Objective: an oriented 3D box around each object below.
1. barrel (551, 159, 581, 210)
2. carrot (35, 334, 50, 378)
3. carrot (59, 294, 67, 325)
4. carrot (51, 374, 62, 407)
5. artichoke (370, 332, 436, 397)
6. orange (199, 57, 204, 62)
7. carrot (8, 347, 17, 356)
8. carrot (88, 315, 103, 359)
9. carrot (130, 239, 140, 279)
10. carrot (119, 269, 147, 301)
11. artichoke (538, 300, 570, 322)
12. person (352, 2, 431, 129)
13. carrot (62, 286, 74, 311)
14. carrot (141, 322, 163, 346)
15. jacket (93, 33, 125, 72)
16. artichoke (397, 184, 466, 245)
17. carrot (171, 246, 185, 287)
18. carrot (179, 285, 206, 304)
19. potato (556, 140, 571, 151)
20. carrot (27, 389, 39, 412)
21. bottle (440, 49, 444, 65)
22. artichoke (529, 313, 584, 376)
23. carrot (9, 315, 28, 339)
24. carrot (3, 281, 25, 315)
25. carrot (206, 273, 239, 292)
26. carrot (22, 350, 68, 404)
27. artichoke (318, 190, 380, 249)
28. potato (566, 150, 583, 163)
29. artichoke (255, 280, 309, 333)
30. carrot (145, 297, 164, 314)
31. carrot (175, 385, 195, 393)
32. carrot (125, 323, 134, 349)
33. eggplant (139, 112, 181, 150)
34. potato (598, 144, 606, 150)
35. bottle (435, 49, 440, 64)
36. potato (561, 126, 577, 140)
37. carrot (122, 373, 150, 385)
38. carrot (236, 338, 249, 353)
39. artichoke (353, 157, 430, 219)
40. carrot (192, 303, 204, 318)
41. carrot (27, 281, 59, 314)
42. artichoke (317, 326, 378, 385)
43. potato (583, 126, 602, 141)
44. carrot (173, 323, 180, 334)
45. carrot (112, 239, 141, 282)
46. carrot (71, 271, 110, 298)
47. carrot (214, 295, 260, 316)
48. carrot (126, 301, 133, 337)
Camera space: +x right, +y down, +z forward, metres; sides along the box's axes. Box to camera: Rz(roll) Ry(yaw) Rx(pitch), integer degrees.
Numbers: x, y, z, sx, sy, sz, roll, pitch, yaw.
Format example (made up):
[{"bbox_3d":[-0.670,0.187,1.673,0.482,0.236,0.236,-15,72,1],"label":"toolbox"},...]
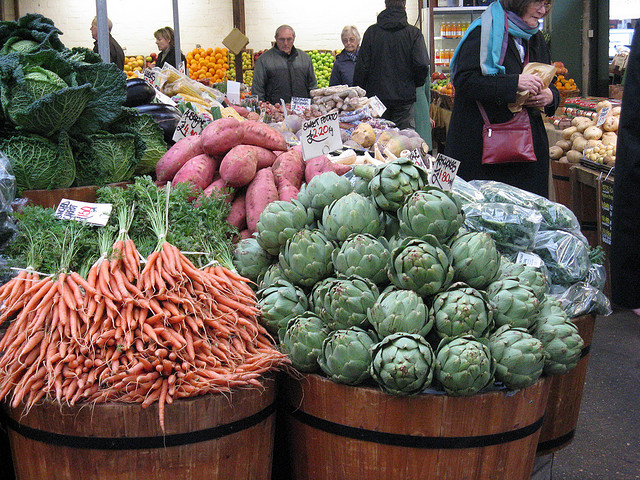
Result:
[{"bbox_3d":[2.290,-0.551,5.526,0.391,0.469,0.395,3,12,31],"label":"barrel"},{"bbox_3d":[-0.963,0.408,1.990,0.023,0.138,0.027,0,-26,21],"label":"carrot"},{"bbox_3d":[-0.925,0.250,2.052,0.025,0.118,0.028,-24,-23,22],"label":"carrot"},{"bbox_3d":[-0.880,0.491,1.891,0.028,0.130,0.027,0,-25,-25],"label":"carrot"},{"bbox_3d":[0.226,0.410,1.930,0.160,0.170,0.155,2,3,13],"label":"artichoke"},{"bbox_3d":[-1.980,-3.016,9.498,0.073,0.069,0.068,-3,18,-5],"label":"orange"},{"bbox_3d":[-1.098,0.395,2.023,0.047,0.008,0.006,-47,6,-7],"label":"carrot"},{"bbox_3d":[-0.789,0.346,1.991,0.020,0.130,0.029,-19,-27,20],"label":"carrot"},{"bbox_3d":[-0.712,0.055,2.188,0.023,0.185,0.025,-4,-17,-17],"label":"carrot"},{"bbox_3d":[-0.688,0.169,2.089,0.136,0.021,0.020,47,14,24],"label":"carrot"},{"bbox_3d":[0.880,0.276,2.156,0.087,0.051,0.075,9,-5,-13],"label":"artichoke"},{"bbox_3d":[0.811,-1.978,6.529,0.844,1.403,0.327,2,17,9],"label":"person"},{"bbox_3d":[-0.913,0.210,2.070,0.030,0.127,0.028,-19,-21,11],"label":"carrot"},{"bbox_3d":[-0.589,0.331,1.981,0.018,0.084,0.019,-38,-7,21],"label":"carrot"},{"bbox_3d":[-2.595,-2.281,7.009,0.290,0.461,0.231,10,35,35],"label":"jacket"},{"bbox_3d":[0.405,-0.097,2.049,0.200,0.199,0.218,-7,-35,26],"label":"artichoke"},{"bbox_3d":[-0.546,0.067,2.167,0.035,0.227,0.039,4,-33,-29],"label":"carrot"},{"bbox_3d":[-0.474,0.198,2.116,0.024,0.026,0.144,-26,71,-38],"label":"carrot"},{"bbox_3d":[2.436,-0.971,5.703,0.094,0.055,0.103,11,-6,3],"label":"potato"},{"bbox_3d":[-0.967,0.538,1.925,0.013,0.086,0.014,19,-22,-12],"label":"carrot"},{"bbox_3d":[2.478,-3.728,11.589,0.084,0.259,0.131,2,17,12],"label":"bottle"},{"bbox_3d":[0.836,0.385,2.080,0.160,0.234,0.219,2,-11,-5],"label":"artichoke"},{"bbox_3d":[-1.092,0.314,2.056,0.013,0.080,0.014,29,-13,-4],"label":"carrot"},{"bbox_3d":[-1.141,0.202,2.123,0.015,0.016,0.101,-12,40,48],"label":"carrot"},{"bbox_3d":[-0.379,0.163,2.179,0.092,0.017,0.017,33,16,-4],"label":"carrot"},{"bbox_3d":[-0.949,0.464,1.976,0.048,0.223,0.038,38,-5,25],"label":"carrot"},{"bbox_3d":[0.133,-0.040,2.219,0.216,0.260,0.209,-10,-4,-1],"label":"artichoke"},{"bbox_3d":[2.409,-0.788,5.381,0.087,0.098,0.130,25,44,-8],"label":"potato"},{"bbox_3d":[-0.138,0.242,2.236,0.178,0.168,0.177,17,3,31],"label":"artichoke"},{"bbox_3d":[-0.600,0.234,2.068,0.078,0.024,0.025,46,29,13],"label":"carrot"},{"bbox_3d":[-0.456,0.503,1.928,0.063,0.024,0.021,2,25,12],"label":"carrot"},{"bbox_3d":[-0.660,0.338,1.965,0.018,0.071,0.020,3,-14,-21],"label":"carrot"},{"bbox_3d":[-0.947,-0.645,3.343,0.207,0.177,0.209,-3,22,-17],"label":"eggplant"},{"bbox_3d":[2.557,-0.843,5.155,0.053,0.046,0.101,-1,9,21],"label":"potato"},{"bbox_3d":[2.396,-3.777,11.659,0.096,0.280,0.214,2,18,11],"label":"bottle"},{"bbox_3d":[2.510,-1.090,5.761,0.154,0.088,0.093,-31,-7,-12],"label":"potato"},{"bbox_3d":[-0.616,0.463,1.918,0.091,0.025,0.024,-18,51,-18],"label":"carrot"},{"bbox_3d":[-0.286,0.396,2.140,0.012,0.068,0.013,-23,-7,-13],"label":"carrot"},{"bbox_3d":[0.278,-0.214,2.206,0.162,0.158,0.258,-25,29,-30],"label":"artichoke"},{"bbox_3d":[-0.447,0.257,2.075,0.015,0.069,0.014,-26,-11,-14],"label":"carrot"},{"bbox_3d":[-1.011,0.215,2.079,0.127,0.021,0.026,-51,9,-17],"label":"carrot"},{"bbox_3d":[0.092,0.405,1.969,0.207,0.195,0.106,0,17,5],"label":"artichoke"},{"bbox_3d":[2.602,-1.028,5.425,0.121,0.102,0.125,-16,1,-3],"label":"potato"},{"bbox_3d":[-0.512,0.314,2.029,0.009,0.028,0.018,-5,-19,-32],"label":"carrot"},{"bbox_3d":[-0.741,0.068,2.169,0.083,0.173,0.040,-4,-27,-19],"label":"carrot"},{"bbox_3d":[-0.840,0.167,2.085,0.020,0.022,0.121,-34,58,-26],"label":"carrot"},{"bbox_3d":[-0.323,0.250,2.155,0.123,0.023,0.019,29,-13,-6],"label":"carrot"},{"bbox_3d":[-0.672,0.278,2.011,0.017,0.114,0.019,-23,-34,23],"label":"carrot"}]
